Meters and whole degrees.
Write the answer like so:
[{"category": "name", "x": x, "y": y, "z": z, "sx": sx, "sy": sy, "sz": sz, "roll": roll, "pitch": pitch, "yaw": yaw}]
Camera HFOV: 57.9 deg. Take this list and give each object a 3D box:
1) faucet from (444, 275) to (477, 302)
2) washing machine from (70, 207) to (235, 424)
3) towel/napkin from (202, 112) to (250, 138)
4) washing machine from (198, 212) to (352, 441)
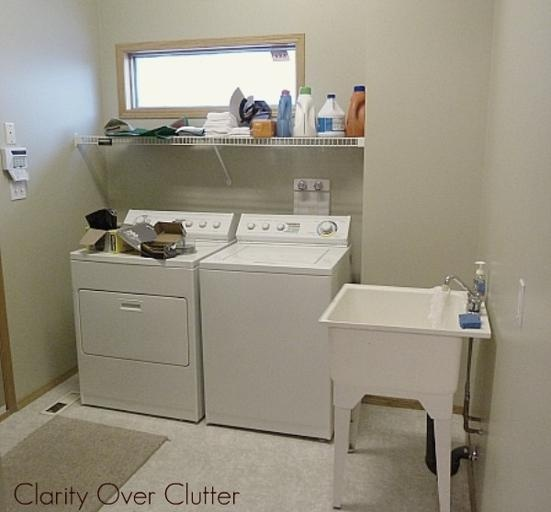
[{"category": "faucet", "x": 0.840, "y": 0.146, "z": 2.251, "sx": 0.170, "sy": 0.082, "sz": 0.035, "roll": 27, "pitch": 14, "yaw": 20}, {"category": "washing machine", "x": -0.667, "y": 0.280, "z": 2.958, "sx": 0.658, "sy": 1.113, "sz": 0.734, "roll": 4, "pitch": 14, "yaw": 14}, {"category": "towel/napkin", "x": -0.304, "y": -0.768, "z": 2.947, "sx": 0.189, "sy": 0.073, "sz": 0.224, "roll": 1, "pitch": 52, "yaw": -4}, {"category": "washing machine", "x": 0.021, "y": 0.335, "z": 2.802, "sx": 0.728, "sy": 1.040, "sz": 0.677, "roll": 3, "pitch": 12, "yaw": 13}]
